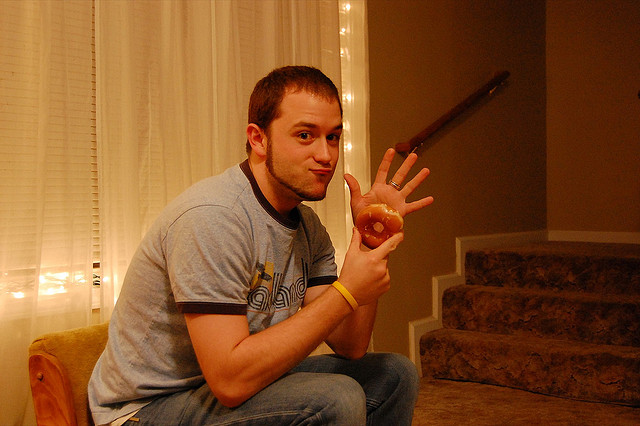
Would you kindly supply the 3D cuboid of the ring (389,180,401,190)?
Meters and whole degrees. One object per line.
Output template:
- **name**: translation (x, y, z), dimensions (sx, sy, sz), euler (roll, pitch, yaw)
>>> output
- **ring**: translation (0.329, -0.125, 2.183), dimensions (0.040, 0.016, 0.040), euler (43, -3, 2)

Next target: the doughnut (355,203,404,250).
- **doughnut**: translation (0.234, 0.055, 2.075), dimensions (0.201, 0.079, 0.210), euler (5, 12, 14)
